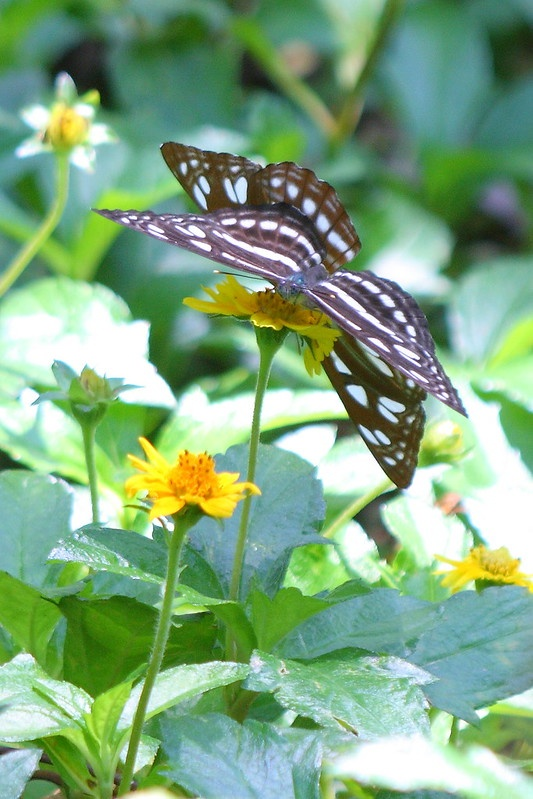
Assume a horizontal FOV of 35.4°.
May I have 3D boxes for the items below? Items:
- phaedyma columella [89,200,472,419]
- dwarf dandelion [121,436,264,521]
[{"bbox_3d":[0.008,-0.080,0.594,0.261,0.185,0.146,8,-15,-11],"label":"phaedyma columella"},{"bbox_3d":[-0.043,0.045,0.482,0.063,0.024,0.060,20,4,-38],"label":"dwarf dandelion"}]
